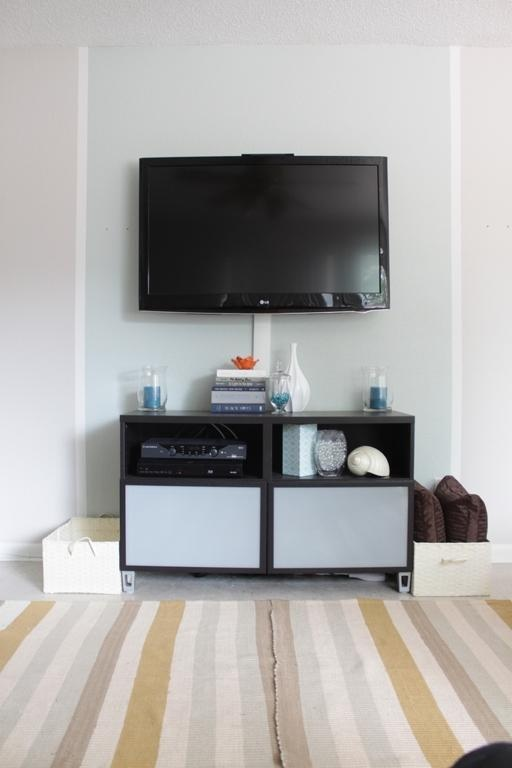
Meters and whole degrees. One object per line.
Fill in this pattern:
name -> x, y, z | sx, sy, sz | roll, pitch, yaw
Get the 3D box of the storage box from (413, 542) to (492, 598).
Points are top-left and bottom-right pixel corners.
storage box -> 0.655, 0.629, 2.111 | 0.196, 0.130, 0.202 | 0, -2, 4

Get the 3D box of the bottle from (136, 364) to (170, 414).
bottle -> -0.367, 0.019, 2.480 | 0.148, 0.186, 0.114 | -1, 1, 2

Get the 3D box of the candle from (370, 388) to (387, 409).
candle -> 0.447, 0.052, 2.388 | 0.066, 0.081, 0.069 | 0, 0, -8

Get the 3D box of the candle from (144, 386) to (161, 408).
candle -> -0.386, 0.049, 2.430 | 0.068, 0.082, 0.070 | 2, 4, 23

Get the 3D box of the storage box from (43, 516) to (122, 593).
storage box -> -0.600, 0.640, 2.335 | 0.248, 0.180, 0.329 | 3, -11, -11

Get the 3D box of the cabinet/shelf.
cabinet/shelf -> 0.031, 0.400, 2.337 | 1.019, 0.605, 0.337 | 0, 3, 1
